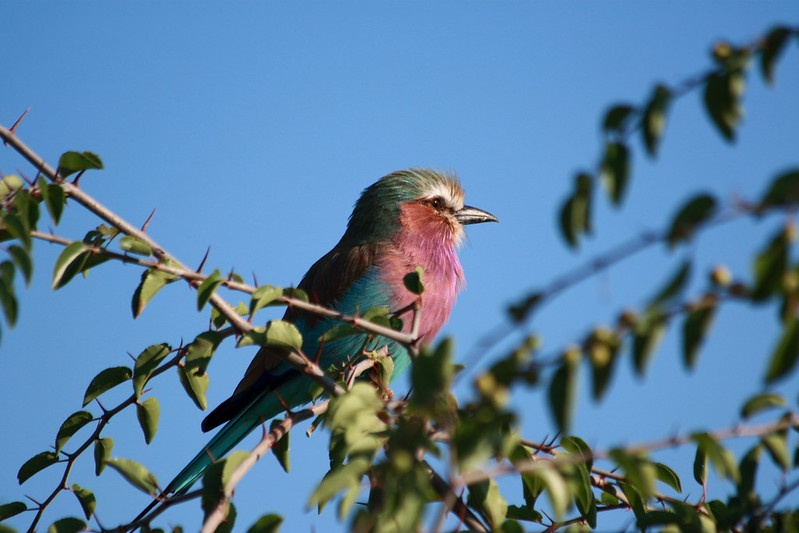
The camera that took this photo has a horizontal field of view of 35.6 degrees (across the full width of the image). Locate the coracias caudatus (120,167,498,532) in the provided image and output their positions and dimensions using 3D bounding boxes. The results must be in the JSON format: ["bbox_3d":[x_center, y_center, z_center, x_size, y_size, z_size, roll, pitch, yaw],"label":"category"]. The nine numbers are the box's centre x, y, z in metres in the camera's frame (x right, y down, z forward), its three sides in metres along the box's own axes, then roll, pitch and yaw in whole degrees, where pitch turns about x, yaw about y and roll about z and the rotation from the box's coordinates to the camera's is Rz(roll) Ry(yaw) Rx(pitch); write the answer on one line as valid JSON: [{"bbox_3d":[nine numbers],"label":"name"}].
[{"bbox_3d":[-0.257,0.121,5.735,1.150,1.623,0.615,-15,-53,14],"label":"coracias caudatus"}]
